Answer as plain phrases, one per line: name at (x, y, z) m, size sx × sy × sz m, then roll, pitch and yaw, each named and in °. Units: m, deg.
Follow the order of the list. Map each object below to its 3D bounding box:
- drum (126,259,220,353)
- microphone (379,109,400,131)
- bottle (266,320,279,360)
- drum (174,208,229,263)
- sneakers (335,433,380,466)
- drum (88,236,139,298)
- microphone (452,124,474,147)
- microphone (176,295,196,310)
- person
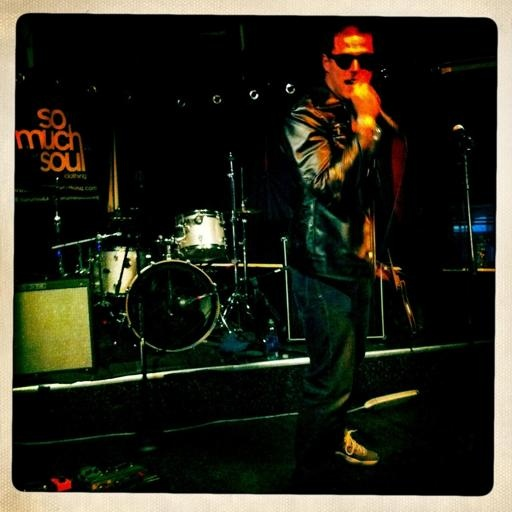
drum at (-0.408, 0.237, 2.711) m, size 0.452 × 0.456 × 0.306 m, roll 1°, pitch 0°, yaw -5°
microphone at (0.626, -0.633, 2.568) m, size 0.066 × 0.096 × 0.024 m, roll -22°, pitch -18°, yaw -41°
bottle at (0.075, 0.385, 2.538) m, size 0.068 × 0.181 × 0.022 m, roll 1°, pitch 0°, yaw 0°
drum at (-0.260, -0.102, 2.697) m, size 0.225 × 0.198 × 0.239 m, roll -9°, pitch -10°, yaw 13°
sneakers at (0.466, 0.920, 2.615) m, size 0.246 × 0.123 × 0.103 m, roll 4°, pitch -3°, yaw 4°
drum at (-0.699, 0.050, 2.680) m, size 0.235 × 0.295 × 0.248 m, roll 2°, pitch 2°, yaw 0°
microphone at (0.977, -0.566, 2.580) m, size 0.025 × 0.112 × 0.079 m, roll -31°, pitch -4°, yaw -47°
microphone at (-0.366, 0.239, 2.824) m, size 0.077 × 0.048 × 0.054 m, roll -4°, pitch -3°, yaw 7°
person at (0.411, -0.028, 2.537) m, size 0.575 × 2.060 × 0.146 m, roll 1°, pitch 0°, yaw -15°
